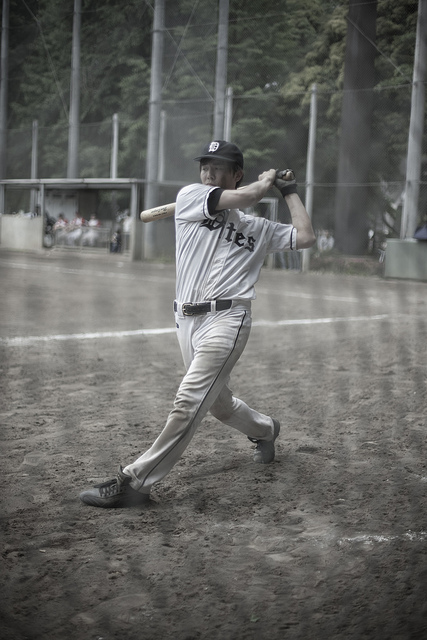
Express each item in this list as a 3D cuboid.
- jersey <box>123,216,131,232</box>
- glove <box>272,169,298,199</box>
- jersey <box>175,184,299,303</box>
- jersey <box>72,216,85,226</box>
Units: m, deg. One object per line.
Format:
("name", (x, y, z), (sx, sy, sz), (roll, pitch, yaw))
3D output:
("jersey", (-3.142, -3.437, 25.132), (0.267, 0.523, 0.790), (1, 8, -8))
("glove", (0.329, -0.627, 3.220), (0.129, 0.125, 0.059), (-17, -9, 7))
("jersey", (0.034, -0.288, 3.174), (0.494, 0.496, 0.582), (5, -5, -42))
("jersey", (-5.434, -3.978, 27.973), (0.489, 0.291, 0.669), (1, 6, -32))
